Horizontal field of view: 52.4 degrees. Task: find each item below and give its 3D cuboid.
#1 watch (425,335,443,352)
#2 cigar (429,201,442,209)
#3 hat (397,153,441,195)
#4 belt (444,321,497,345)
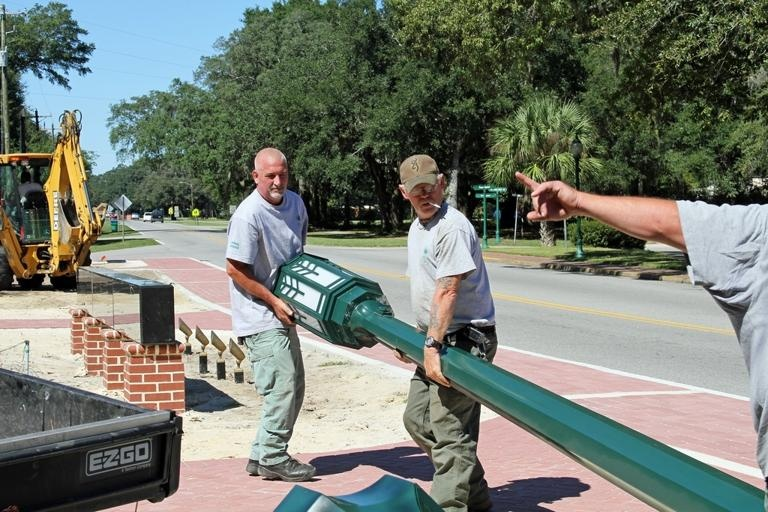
[{"bbox_3d":[0.316,0.553,4.994,0.111,0.062,0.106,12,-7,-26],"label":"watch"},{"bbox_3d":[0.369,-0.370,5.646,0.042,0.049,0.224,15,-2,-16],"label":"cigar"},{"bbox_3d":[0.256,-0.624,5.760,0.231,0.159,0.319,-12,4,9],"label":"hat"},{"bbox_3d":[0.659,0.564,5.668,0.261,0.088,0.185,-6,-1,-7],"label":"belt"}]
